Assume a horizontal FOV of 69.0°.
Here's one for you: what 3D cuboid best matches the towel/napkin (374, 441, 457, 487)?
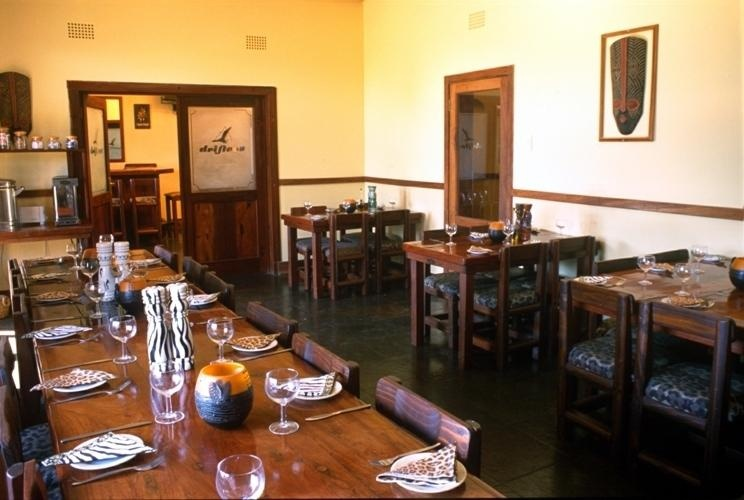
[{"bbox_3d":[0.183,0.777,1.985,0.164,0.043,0.159,-1,6,-10],"label":"towel/napkin"}]

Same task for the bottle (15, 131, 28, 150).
[{"bbox_3d":[-4.062,-1.266,6.274,0.141,0.200,0.437,-10,16,-31],"label":"bottle"}]

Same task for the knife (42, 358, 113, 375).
[{"bbox_3d":[-1.478,0.590,2.720,0.337,0.037,0.033,1,19,-44],"label":"knife"}]

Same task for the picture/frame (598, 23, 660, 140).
[{"bbox_3d":[2.294,-1.475,4.862,0.134,0.974,0.578,-9,16,-28],"label":"picture/frame"}]

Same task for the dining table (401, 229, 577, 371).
[{"bbox_3d":[0.964,0.238,5.296,0.699,0.815,1.281,16,25,39],"label":"dining table"}]

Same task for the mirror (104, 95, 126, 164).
[{"bbox_3d":[-5.100,-2.382,10.811,0.324,1.277,0.315,-5,15,-14],"label":"mirror"}]

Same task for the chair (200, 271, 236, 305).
[{"bbox_3d":[-1.204,0.306,4.236,0.122,0.198,0.375,-3,15,-33],"label":"chair"}]

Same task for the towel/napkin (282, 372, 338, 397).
[{"bbox_3d":[-0.258,0.599,2.473,0.149,0.025,0.124,-6,19,-16],"label":"towel/napkin"}]

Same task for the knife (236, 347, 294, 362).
[{"bbox_3d":[-0.564,0.548,2.809,0.227,0.020,0.022,-7,-20,-17],"label":"knife"}]

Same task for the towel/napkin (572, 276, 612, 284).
[{"bbox_3d":[1.529,0.209,3.723,0.113,0.033,0.224,4,6,32],"label":"towel/napkin"}]

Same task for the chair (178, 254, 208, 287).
[{"bbox_3d":[-1.393,0.160,4.277,0.227,0.180,0.178,21,-9,-38],"label":"chair"}]

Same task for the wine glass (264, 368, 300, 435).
[{"bbox_3d":[-0.367,0.621,2.244,0.156,0.240,0.158,-5,-2,45],"label":"wine glass"}]

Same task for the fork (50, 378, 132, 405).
[{"bbox_3d":[-1.290,0.656,2.484,0.344,0.041,0.049,-4,26,-26],"label":"fork"}]

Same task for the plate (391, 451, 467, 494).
[{"bbox_3d":[0.208,0.824,1.986,0.267,0.056,0.176,3,14,15],"label":"plate"}]

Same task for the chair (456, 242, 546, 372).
[{"bbox_3d":[1.147,0.491,4.918,0.904,1.002,0.898,-2,2,-2],"label":"chair"}]

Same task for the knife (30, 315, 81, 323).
[{"bbox_3d":[-1.950,0.430,3.349,0.295,0.014,0.033,-2,8,0],"label":"knife"}]

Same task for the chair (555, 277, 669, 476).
[{"bbox_3d":[1.610,0.769,3.565,0.651,1.028,0.665,-1,5,-21],"label":"chair"}]

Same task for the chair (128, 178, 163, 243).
[{"bbox_3d":[-4.243,-0.807,10.483,0.625,1.194,0.639,-2,7,-5],"label":"chair"}]

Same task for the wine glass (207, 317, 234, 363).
[{"bbox_3d":[-0.757,0.457,2.734,0.153,0.228,0.149,1,1,-23],"label":"wine glass"}]

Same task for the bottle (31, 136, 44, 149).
[{"bbox_3d":[-3.907,-1.246,6.327,0.136,0.142,0.442,-9,16,-30],"label":"bottle"}]

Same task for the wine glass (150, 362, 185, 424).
[{"bbox_3d":[-0.882,0.631,2.331,0.176,0.269,0.165,-5,13,-24],"label":"wine glass"}]

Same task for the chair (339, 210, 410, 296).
[{"bbox_3d":[0.217,-0.027,7.134,0.761,0.854,0.711,-3,3,21],"label":"chair"}]

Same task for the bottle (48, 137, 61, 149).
[{"bbox_3d":[-3.747,-1.254,6.394,0.125,0.135,0.425,-9,16,-28],"label":"bottle"}]

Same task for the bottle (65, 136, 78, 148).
[{"bbox_3d":[-3.578,-1.271,6.459,0.123,0.149,0.259,-8,15,-25],"label":"bottle"}]

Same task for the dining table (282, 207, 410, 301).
[{"bbox_3d":[-0.315,-0.103,7.384,1.480,1.068,1.633,-5,11,-19],"label":"dining table"}]
